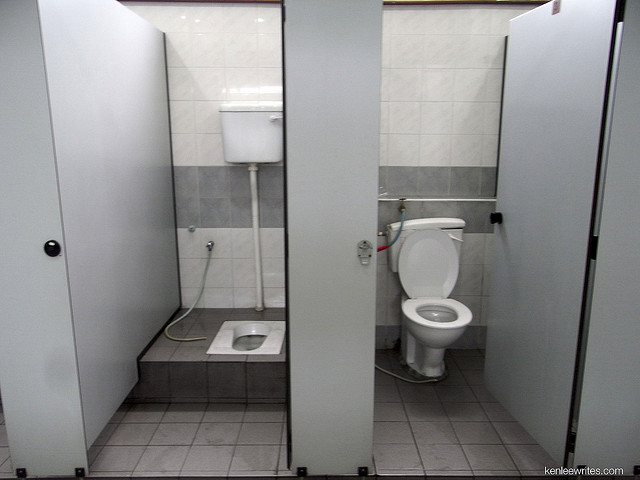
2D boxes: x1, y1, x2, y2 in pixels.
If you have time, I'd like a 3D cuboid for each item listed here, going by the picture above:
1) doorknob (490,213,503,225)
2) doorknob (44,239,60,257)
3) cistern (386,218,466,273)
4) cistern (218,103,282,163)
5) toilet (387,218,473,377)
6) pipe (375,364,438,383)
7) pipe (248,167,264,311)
[{"bbox_3d":[1.116,-0.133,3.293,0.067,0.059,0.064,2,8,11],"label":"doorknob"},{"bbox_3d":[-1.341,0.042,2.586,0.075,0.070,0.024,-2,11,-7],"label":"doorknob"},{"bbox_3d":[0.739,-0.049,3.731,0.591,0.384,0.382,-1,0,-4],"label":"cistern"},{"bbox_3d":[-0.480,-0.707,3.716,0.570,0.368,0.360,0,19,-1],"label":"cistern"},{"bbox_3d":[0.747,0.415,3.611,0.540,1.062,0.616,-1,13,7],"label":"toilet"},{"bbox_3d":[0.615,0.937,3.660,0.481,0.050,0.084,4,-22,28],"label":"pipe"},{"bbox_3d":[-0.465,0.000,3.861,0.089,1.065,0.122,-4,13,-4],"label":"pipe"}]
